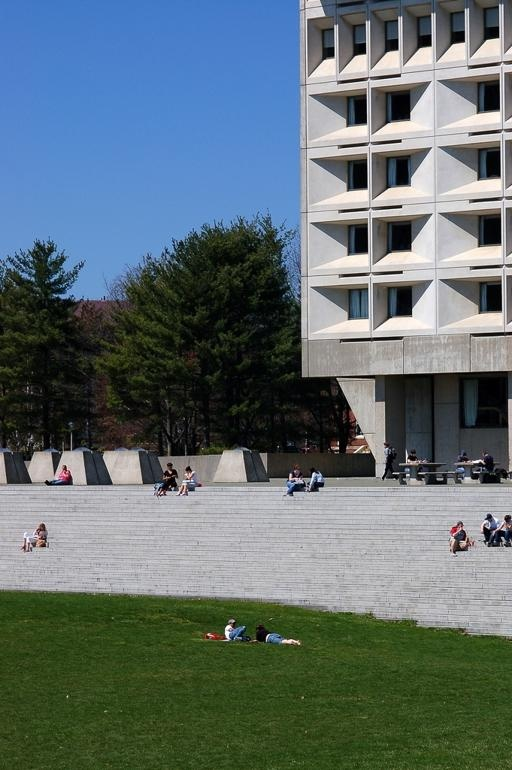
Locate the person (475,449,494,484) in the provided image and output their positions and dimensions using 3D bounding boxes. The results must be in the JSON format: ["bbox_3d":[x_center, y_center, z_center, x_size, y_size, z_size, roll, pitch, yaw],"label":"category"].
[{"bbox_3d":[6.381,2.276,54.369,0.511,0.805,0.946,-2,2,-13],"label":"person"}]

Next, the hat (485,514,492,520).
[{"bbox_3d":[5.011,2.796,42.441,0.136,0.075,0.174,-3,16,21],"label":"hat"}]

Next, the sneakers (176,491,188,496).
[{"bbox_3d":[-1.727,2.573,47.784,0.259,0.127,0.092,2,4,42],"label":"sneakers"}]

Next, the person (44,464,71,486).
[{"bbox_3d":[-5.162,2.370,52.532,0.382,0.718,0.758,-4,-12,40],"label":"person"}]

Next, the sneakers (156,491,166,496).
[{"bbox_3d":[-2.226,2.579,47.716,0.240,0.149,0.111,-10,13,-35],"label":"sneakers"}]

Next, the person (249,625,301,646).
[{"bbox_3d":[0.442,4.937,38.632,0.924,0.381,0.357,14,18,36],"label":"person"}]

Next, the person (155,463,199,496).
[{"bbox_3d":[-1.873,2.324,48.338,0.492,0.841,1.293,-2,-5,15],"label":"person"}]
